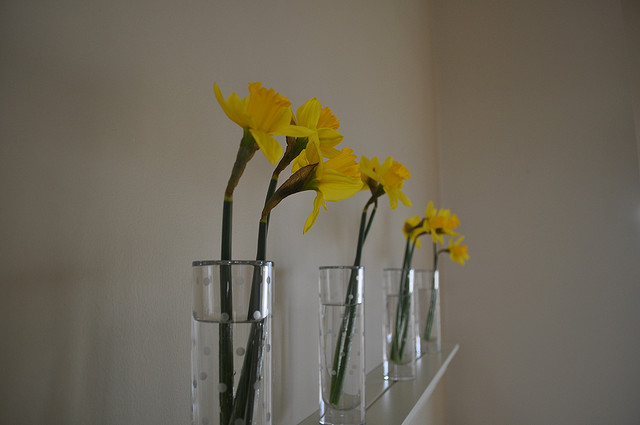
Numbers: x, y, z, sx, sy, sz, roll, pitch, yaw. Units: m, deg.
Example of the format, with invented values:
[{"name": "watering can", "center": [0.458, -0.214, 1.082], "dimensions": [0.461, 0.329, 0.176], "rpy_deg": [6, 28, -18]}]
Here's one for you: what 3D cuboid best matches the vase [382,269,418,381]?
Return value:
[{"name": "vase", "center": [0.266, 0.370, 2.333], "dimensions": [0.104, 0.370, 0.116], "rpy_deg": [0, -6, 24]}]
